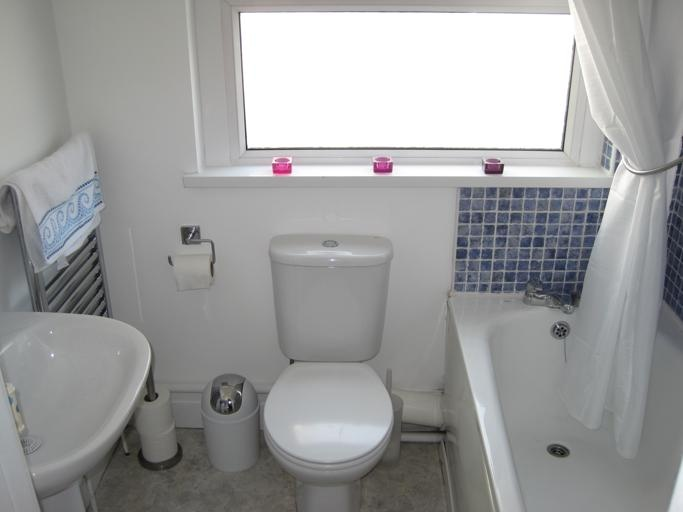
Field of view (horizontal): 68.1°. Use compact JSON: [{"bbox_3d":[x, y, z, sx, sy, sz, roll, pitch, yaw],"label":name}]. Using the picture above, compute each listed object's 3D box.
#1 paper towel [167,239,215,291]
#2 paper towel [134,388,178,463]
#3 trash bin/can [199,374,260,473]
[{"bbox_3d":[-0.662,0.039,2.243,0.206,0.244,0.126,-1,-14,-28],"label":"paper towel"},{"bbox_3d":[-0.862,0.780,2.343,0.163,0.299,0.159,-14,25,-38],"label":"paper towel"},{"bbox_3d":[-0.501,0.761,2.267,0.279,0.509,0.291,2,26,1],"label":"trash bin/can"}]
